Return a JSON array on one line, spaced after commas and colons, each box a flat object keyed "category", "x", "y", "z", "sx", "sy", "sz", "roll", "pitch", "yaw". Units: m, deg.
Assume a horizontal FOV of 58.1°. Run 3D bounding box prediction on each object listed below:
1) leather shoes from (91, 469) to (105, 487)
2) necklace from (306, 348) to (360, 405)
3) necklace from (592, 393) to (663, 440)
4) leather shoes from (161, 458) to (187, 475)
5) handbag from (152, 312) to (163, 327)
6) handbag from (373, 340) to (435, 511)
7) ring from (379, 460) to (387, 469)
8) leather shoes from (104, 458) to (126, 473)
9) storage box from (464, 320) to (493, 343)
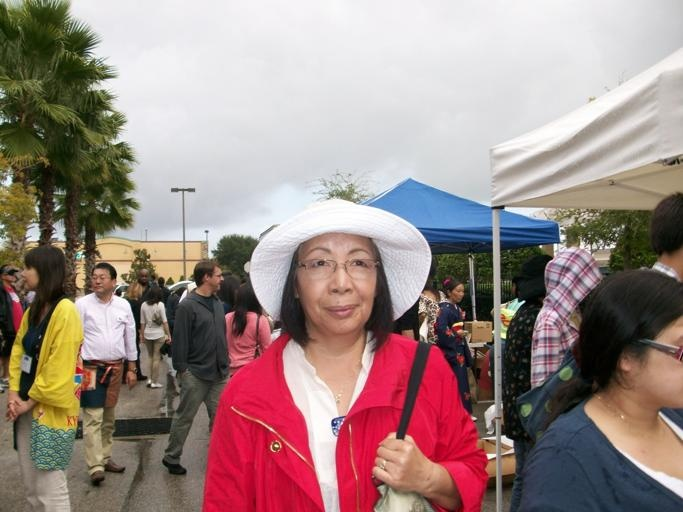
[{"category": "leather shoes", "x": -2.378, "y": 2.136, "z": 5.984, "sx": 0.136, "sy": 0.126, "sz": 0.157, "roll": 2, "pitch": 2, "yaw": -20}, {"category": "necklace", "x": -0.023, "y": 0.593, "z": 3.007, "sx": 0.151, "sy": 0.297, "sz": 0.150, "roll": -2, "pitch": -16, "yaw": 2}, {"category": "necklace", "x": 1.268, "y": 0.720, "z": 2.755, "sx": 0.241, "sy": 0.207, "sz": 0.075, "roll": 20, "pitch": -4, "yaw": 7}, {"category": "leather shoes", "x": -1.730, "y": 2.180, "z": 6.385, "sx": 0.262, "sy": 0.117, "sz": 0.131, "roll": 0, "pitch": 1, "yaw": 39}, {"category": "handbag", "x": -3.129, "y": 1.058, "z": 10.425, "sx": 0.185, "sy": 0.249, "sz": 0.130, "roll": -1, "pitch": 15, "yaw": 10}, {"category": "handbag", "x": 0.327, "y": 0.756, "z": 2.757, "sx": 0.227, "sy": 0.691, "sz": 0.407, "roll": 3, "pitch": 2, "yaw": 26}, {"category": "ring", "x": 0.176, "y": 0.890, "z": 2.638, "sx": 0.022, "sy": 0.035, "sz": 0.012, "roll": -5, "pitch": -18, "yaw": 16}, {"category": "leather shoes", "x": -2.353, "y": 2.155, "z": 6.360, "sx": 0.253, "sy": 0.113, "sz": 0.094, "roll": 1, "pitch": -1, "yaw": 31}, {"category": "storage box", "x": 1.968, "y": 1.080, "z": 8.929, "sx": 0.323, "sy": 0.363, "sz": 0.249, "roll": 1, "pitch": -3, "yaw": -19}]
